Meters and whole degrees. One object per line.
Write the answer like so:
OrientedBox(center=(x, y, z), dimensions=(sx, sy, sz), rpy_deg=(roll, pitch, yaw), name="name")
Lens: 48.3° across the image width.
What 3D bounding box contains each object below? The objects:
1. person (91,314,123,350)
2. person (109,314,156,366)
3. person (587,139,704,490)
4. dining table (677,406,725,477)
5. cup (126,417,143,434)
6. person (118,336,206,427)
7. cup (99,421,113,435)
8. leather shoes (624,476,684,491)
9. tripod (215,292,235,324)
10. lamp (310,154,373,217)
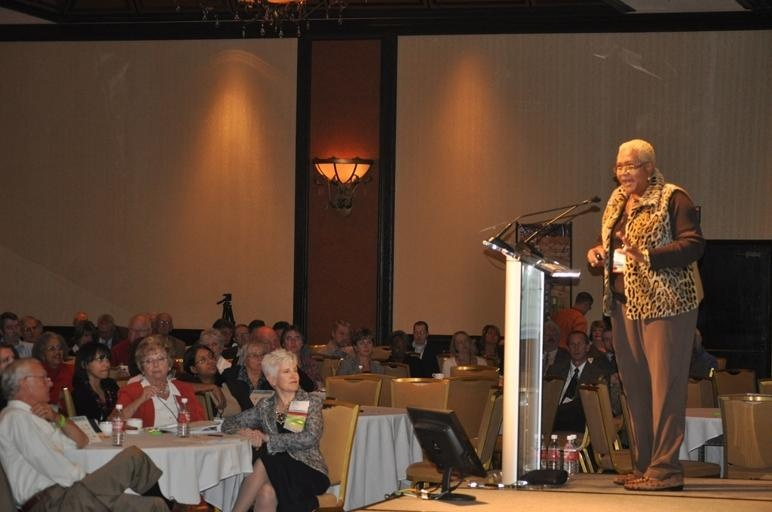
OrientedBox(center=(-3.866, 1.066, 11.882), dimensions=(0.307, 0.332, 0.907), rpy_deg=(3, -20, -15), name="person")
OrientedBox(center=(-3.072, 1.022, 10.356), dimensions=(0.462, 0.374, 1.127), rpy_deg=(-2, -48, -13), name="person")
OrientedBox(center=(1.845, 0.395, 5.852), dimensions=(0.655, 2.349, 0.359), rpy_deg=(-3, -7, 14), name="person")
OrientedBox(center=(2.865, 1.699, 7.794), dimensions=(0.567, 0.599, 0.588), rpy_deg=(1, -6, -3), name="dining table")
OrientedBox(center=(-1.975, 1.345, 6.783), dimensions=(0.116, 0.095, 0.102), rpy_deg=(2, -3, 25), name="cup")
OrientedBox(center=(-1.909, 1.176, 7.208), dimensions=(0.651, 0.913, 0.507), rpy_deg=(-8, 6, -26), name="person")
OrientedBox(center=(-2.214, 1.355, 6.740), dimensions=(0.108, 0.091, 0.089), rpy_deg=(-1, 0, -8), name="cup")
OrientedBox(center=(1.798, 1.523, 5.707), dimensions=(0.279, 0.090, 0.146), rpy_deg=(4, -11, 3), name="leather shoes")
OrientedBox(center=(-2.589, 0.831, 13.841), dimensions=(0.291, 0.494, 0.570), rpy_deg=(0, -8, -11), name="tripod")
OrientedBox(center=(-0.638, -1.050, 13.986), dimensions=(0.888, 0.868, 0.909), rpy_deg=(-1, -5, 29), name="lamp")
